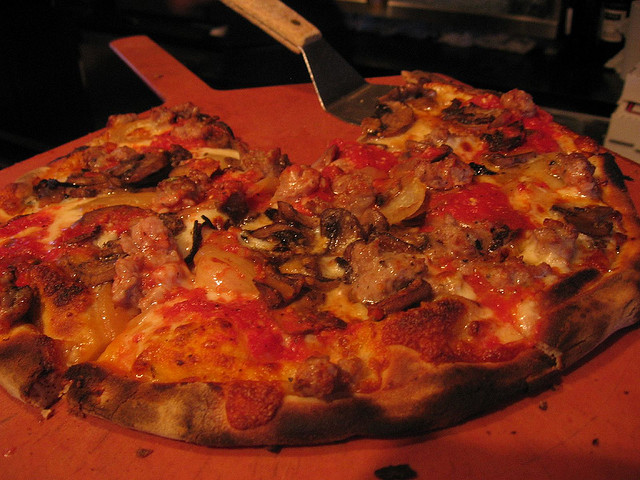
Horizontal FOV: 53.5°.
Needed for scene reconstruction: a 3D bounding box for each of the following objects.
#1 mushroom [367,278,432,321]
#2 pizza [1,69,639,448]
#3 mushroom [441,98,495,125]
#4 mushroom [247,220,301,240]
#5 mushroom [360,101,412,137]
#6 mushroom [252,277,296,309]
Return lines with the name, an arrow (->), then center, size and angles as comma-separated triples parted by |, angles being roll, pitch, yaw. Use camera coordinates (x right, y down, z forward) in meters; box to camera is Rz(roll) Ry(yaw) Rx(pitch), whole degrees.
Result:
mushroom -> 0.221, 0.170, 1.804 | 0.201, 0.075, 0.068 | -26, 56, -14
pizza -> -0.018, 0.024, 2.060 | 2.044, 0.302, 1.449 | 10, 51, 15
mushroom -> 0.577, -0.506, 2.500 | 0.119, 0.039, 0.182 | -34, 34, -29
mushroom -> -0.148, -0.033, 2.067 | 0.144, 0.062, 0.029 | -15, 88, -16
mushroom -> 0.268, -0.476, 2.509 | 0.238, 0.133, 0.246 | -7, 21, -7
mushroom -> -0.135, 0.153, 1.853 | 0.108, 0.026, 0.102 | -28, 52, -36
